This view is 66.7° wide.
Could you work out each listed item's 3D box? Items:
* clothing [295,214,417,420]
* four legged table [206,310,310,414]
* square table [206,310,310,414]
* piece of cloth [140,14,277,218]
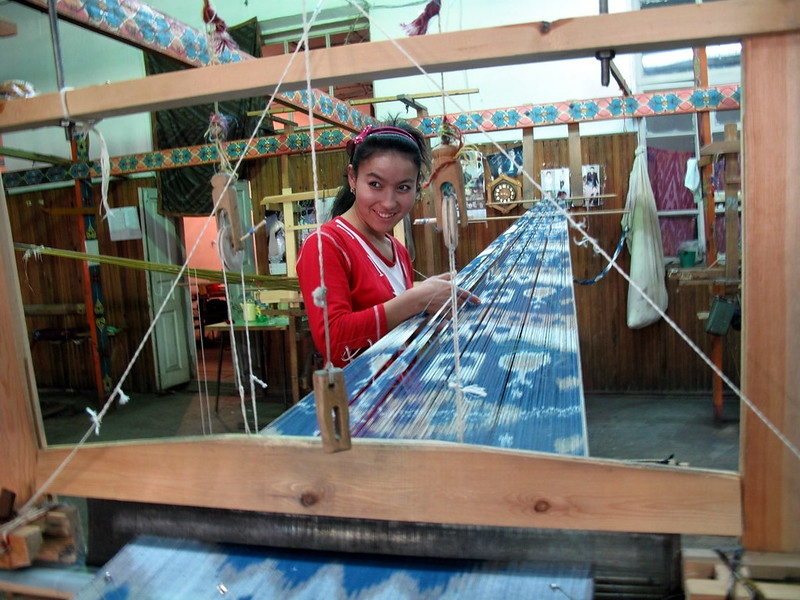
[{"bbox_3d":[-0.080,0.014,1.768,0.236,0.495,0.499,-4,-2,25],"label":"clothing"},{"bbox_3d":[-1.071,0.494,4.693,0.424,0.421,0.826,0,3,1],"label":"four legged table"},{"bbox_3d":[-1.071,0.494,4.693,0.424,0.421,0.826,0,3,1],"label":"square table"},{"bbox_3d":[-1.771,-1.661,5.604,0.787,1.719,1.406,-12,12,-39],"label":"piece of cloth"}]
